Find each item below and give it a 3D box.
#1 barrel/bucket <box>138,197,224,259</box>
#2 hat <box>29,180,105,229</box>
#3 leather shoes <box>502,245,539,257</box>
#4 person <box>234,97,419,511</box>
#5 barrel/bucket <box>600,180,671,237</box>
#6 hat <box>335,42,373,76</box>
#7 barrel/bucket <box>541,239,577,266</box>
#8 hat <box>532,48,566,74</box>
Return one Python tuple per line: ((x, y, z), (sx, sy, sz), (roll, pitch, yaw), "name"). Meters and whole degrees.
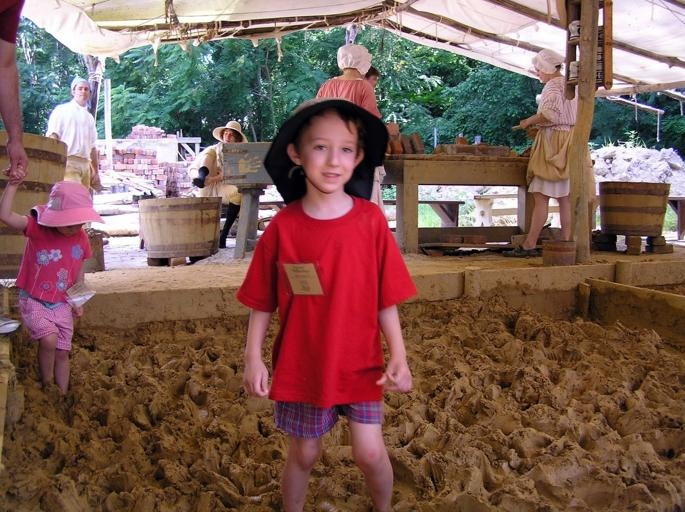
((-2.009, -0.349, 6.645), (0.813, 0.626, 0.864), (0, 3, 0), "barrel/bucket")
((-1.650, -0.295, 3.108), (0.313, 0.190, 0.372), (-6, 7, -44), "hat")
((2.214, -0.063, 6.342), (0.496, 0.207, 0.172), (2, 3, 10), "leather shoes")
((-0.079, 0.282, 2.203), (0.768, 1.833, 0.295), (3, 4, 8), "person")
((3.844, -0.557, 6.804), (0.771, 0.586, 0.736), (1, -2, 0), "barrel/bucket")
((0.138, -2.050, 5.396), (0.277, 0.323, 0.368), (2, 24, 15), "hat")
((2.206, -0.029, 5.213), (0.319, 0.257, 0.321), (2, 4, 0), "barrel/bucket")
((2.323, -2.168, 5.766), (0.284, 0.102, 0.272), (-20, 45, -40), "hat")
